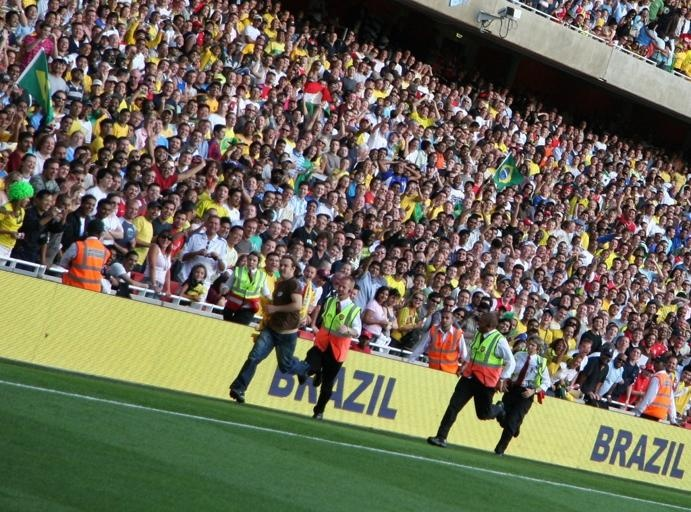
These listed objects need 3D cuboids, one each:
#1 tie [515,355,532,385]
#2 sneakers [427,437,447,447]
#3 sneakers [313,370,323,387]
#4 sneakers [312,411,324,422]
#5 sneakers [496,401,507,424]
[{"bbox_3d":[2.881,1.865,19.015,0.143,0.469,0.137,17,-3,9],"label":"tie"},{"bbox_3d":[1.461,3.034,18.979,0.309,0.174,0.280,18,-2,6],"label":"sneakers"},{"bbox_3d":[-0.454,1.921,18.263,0.143,0.267,0.368,18,-2,1],"label":"sneakers"},{"bbox_3d":[-0.445,2.572,18.583,0.181,0.194,0.110,16,-20,-39],"label":"sneakers"},{"bbox_3d":[2.552,2.637,19.243,0.130,0.440,0.186,5,11,9],"label":"sneakers"}]
